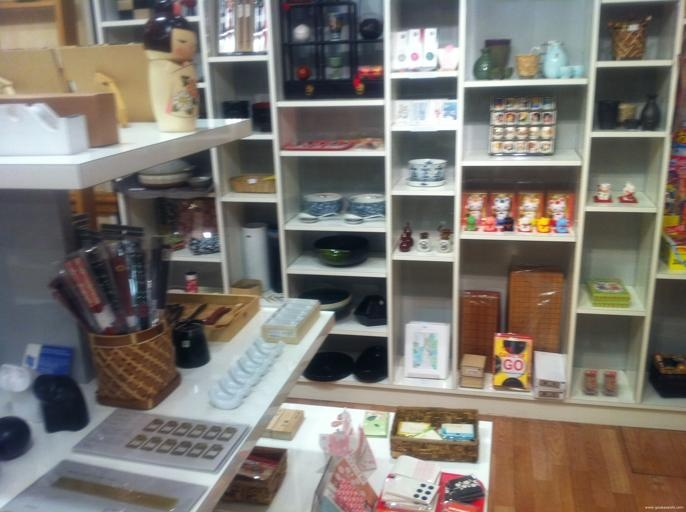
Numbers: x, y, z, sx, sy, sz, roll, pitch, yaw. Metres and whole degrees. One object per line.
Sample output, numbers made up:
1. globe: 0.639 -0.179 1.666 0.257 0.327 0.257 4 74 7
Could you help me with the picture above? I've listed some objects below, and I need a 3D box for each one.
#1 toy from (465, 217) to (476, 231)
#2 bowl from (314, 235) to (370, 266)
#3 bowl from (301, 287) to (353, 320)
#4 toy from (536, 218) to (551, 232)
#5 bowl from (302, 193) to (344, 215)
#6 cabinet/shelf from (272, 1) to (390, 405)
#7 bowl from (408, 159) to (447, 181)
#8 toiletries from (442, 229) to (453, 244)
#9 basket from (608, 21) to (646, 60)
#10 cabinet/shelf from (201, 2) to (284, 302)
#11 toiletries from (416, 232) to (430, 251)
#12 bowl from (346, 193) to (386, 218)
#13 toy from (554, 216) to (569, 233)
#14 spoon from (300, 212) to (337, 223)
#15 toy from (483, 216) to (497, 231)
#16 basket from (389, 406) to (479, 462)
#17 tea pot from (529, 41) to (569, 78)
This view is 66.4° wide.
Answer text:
1. toy: 0.697 -0.174 2.832 0.086 0.073 0.077 -1 -1 -2
2. bowl: -0.011 -0.035 3.065 0.249 0.089 0.238 -4 13 1
3. bowl: -0.102 0.263 3.142 0.288 0.061 0.259 -3 12 -16
4. toy: 1.067 -0.167 2.771 0.086 0.080 0.083 5 16 36
5. bowl: -0.118 -0.298 3.029 0.184 0.067 0.172 -1 10 0
6. cabinet/shelf: -0.035 -0.323 3.161 0.729 1.990 0.408 2 21 9
7. bowl: 0.464 -0.475 2.855 0.179 0.054 0.138 -3 14 -8
8. toiletries: 0.617 -0.113 2.934 0.106 0.079 0.054 0 28 16
9. basket: 1.340 -0.991 2.451 0.193 0.171 0.185 6 21 26
10. cabinet/shelf: -0.567 -0.588 3.055 0.404 1.547 0.226 2 22 4
11. toiletries: 0.459 -0.082 2.986 0.119 0.103 0.106 -3 9 -13
12. bowl: 0.127 -0.292 3.008 0.232 0.130 0.123 1 17 6
13. toy: 1.156 -0.166 2.755 0.090 0.074 0.026 -1 -7 41
14. spoon: -0.152 -0.227 3.039 0.168 0.025 0.073 -6 36 5
15. toy: 0.797 -0.175 2.831 0.092 0.080 0.082 1 16 12
16. basket: 0.364 0.684 2.055 0.337 0.112 0.304 2 15 9
17. tea pot: 1.053 -0.986 2.627 0.210 0.177 0.129 11 35 41
